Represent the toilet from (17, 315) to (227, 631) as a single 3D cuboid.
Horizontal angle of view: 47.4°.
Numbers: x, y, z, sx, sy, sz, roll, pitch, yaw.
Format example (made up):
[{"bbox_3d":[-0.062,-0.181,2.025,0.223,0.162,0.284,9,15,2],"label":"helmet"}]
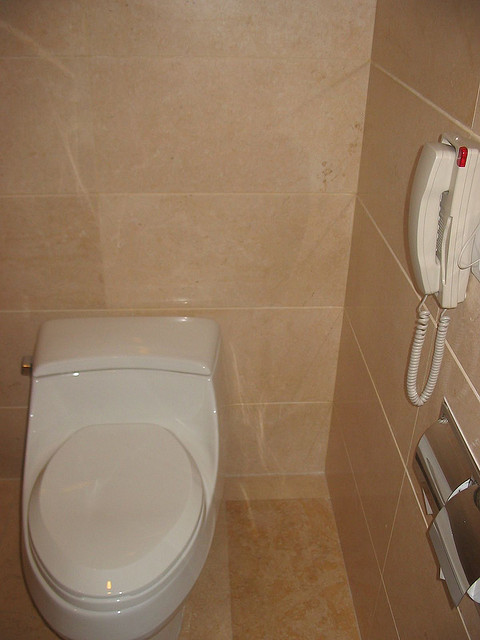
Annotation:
[{"bbox_3d":[-0.250,0.363,1.346,0.355,0.760,0.497,0,-38,-1],"label":"toilet"}]
